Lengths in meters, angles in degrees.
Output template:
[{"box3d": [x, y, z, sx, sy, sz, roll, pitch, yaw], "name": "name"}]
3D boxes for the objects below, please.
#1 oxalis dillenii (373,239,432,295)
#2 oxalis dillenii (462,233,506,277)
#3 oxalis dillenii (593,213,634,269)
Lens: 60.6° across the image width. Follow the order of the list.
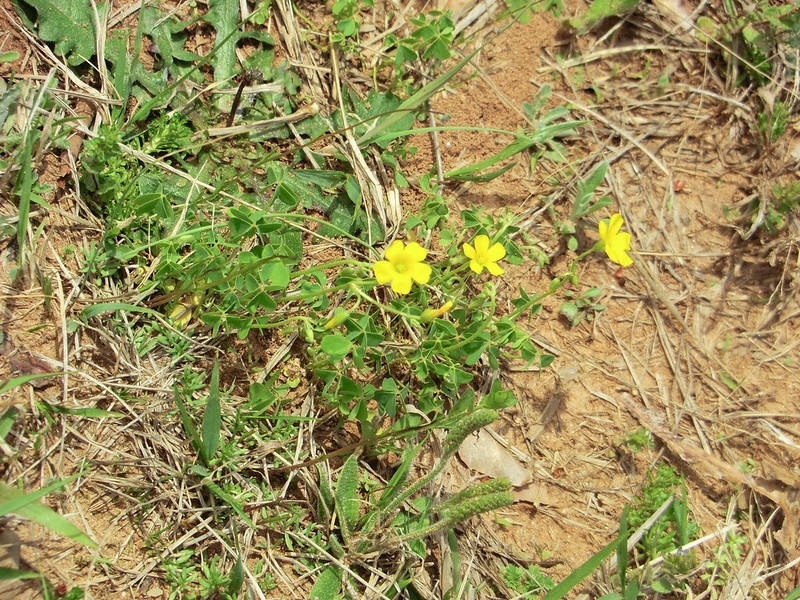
[{"box3d": [0.015, -0.149, 2.930, 0.200, 0.238, 0.073, 12, 91, -23], "name": "oxalis dillenii"}, {"box3d": [0.350, -0.203, 3.033, 0.155, 0.150, 0.072, -3, 76, 41], "name": "oxalis dillenii"}, {"box3d": [0.965, -0.305, 3.181, 0.145, 0.188, 0.084, 20, 65, -4], "name": "oxalis dillenii"}]
